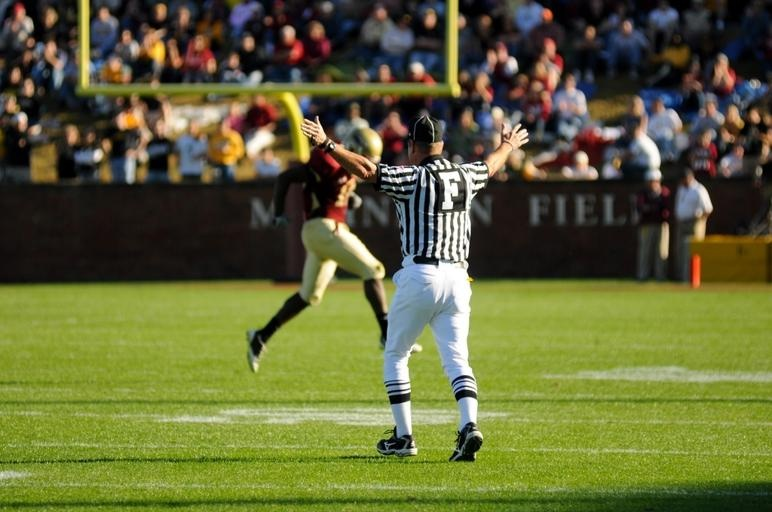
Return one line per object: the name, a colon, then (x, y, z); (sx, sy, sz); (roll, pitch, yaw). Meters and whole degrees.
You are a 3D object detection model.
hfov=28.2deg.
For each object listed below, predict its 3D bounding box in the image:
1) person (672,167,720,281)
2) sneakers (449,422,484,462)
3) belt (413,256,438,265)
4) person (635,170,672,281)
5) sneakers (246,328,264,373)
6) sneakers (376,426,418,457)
person: (5.081, -0.512, 25.862); (0.529, 1.877, 0.790); (0, 1, 2)
sneakers: (0.802, 1.892, 15.567); (0.202, 0.530, 0.244); (8, 41, -12)
belt: (0.400, 0.040, 15.655); (0.258, 0.084, 0.037); (0, 1, -5)
person: (4.453, -0.451, 25.933); (0.496, 1.713, 0.568); (1, 1, 13)
sneakers: (-1.492, 1.036, 17.671); (0.221, 0.470, 0.156); (1, 32, 7)
sneakers: (0.109, 1.924, 15.858); (0.509, 0.268, 0.198); (1, -2, 21)
